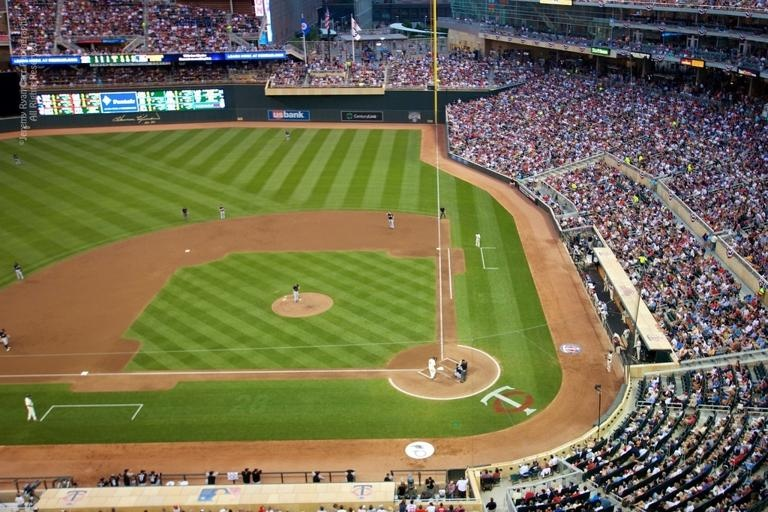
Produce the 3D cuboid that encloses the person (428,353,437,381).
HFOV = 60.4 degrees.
[{"bbox_3d":[2.888,6.624,40.339,0.573,0.990,1.523,5,36,2],"label":"person"}]
